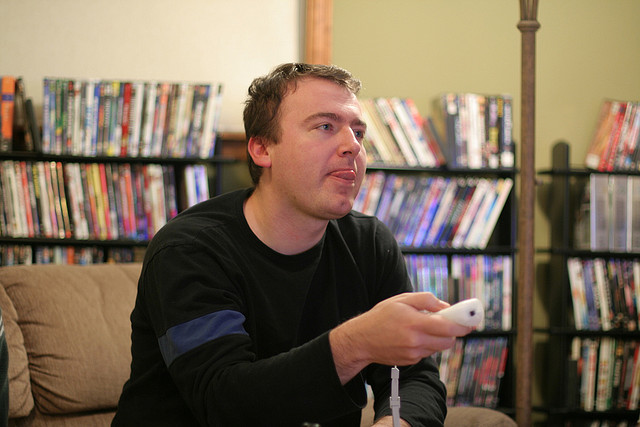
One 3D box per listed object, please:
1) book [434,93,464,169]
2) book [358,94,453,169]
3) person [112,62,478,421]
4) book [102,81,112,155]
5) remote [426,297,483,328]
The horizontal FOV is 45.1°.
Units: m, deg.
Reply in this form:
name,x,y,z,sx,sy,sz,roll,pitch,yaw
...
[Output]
name,x,y,z,sx,sy,sz,roll,pitch,yaw
book,0.664,-0.413,3.941,0.113,0.332,0.338,-6,9,-1
book,0.402,-0.455,4.029,0.452,0.395,0.160,8,32,44
person,-0.110,0.064,2.648,0.997,1.205,0.656,-1,5,-9
book,-1.039,-0.465,3.764,0.048,0.415,0.044,0,35,-17
remote,0.454,0.317,2.481,0.242,0.069,0.070,-1,-31,22
